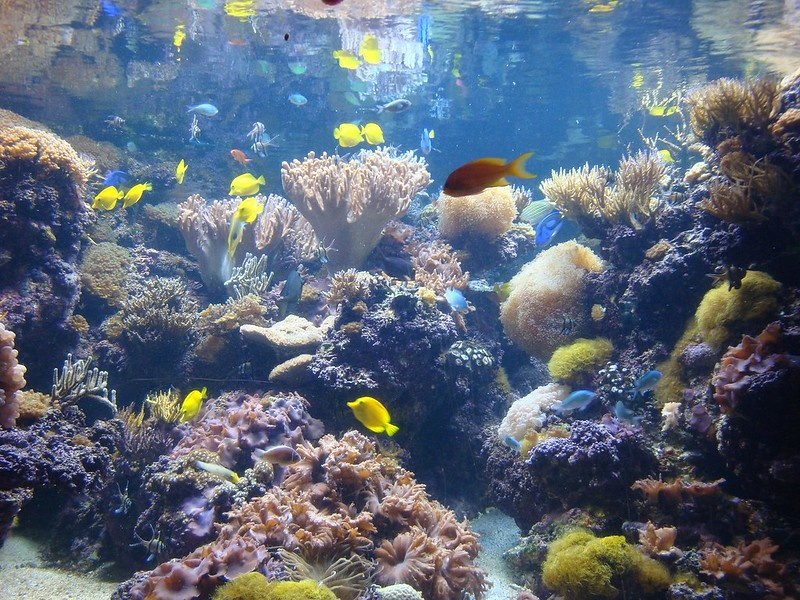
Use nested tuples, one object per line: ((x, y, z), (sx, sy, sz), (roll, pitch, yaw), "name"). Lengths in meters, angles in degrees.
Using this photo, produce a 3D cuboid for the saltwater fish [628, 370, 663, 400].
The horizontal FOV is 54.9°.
((4.551, 1.570, 14.219), (0.537, 0.645, 0.340), (7, 20, 10), "saltwater fish")
